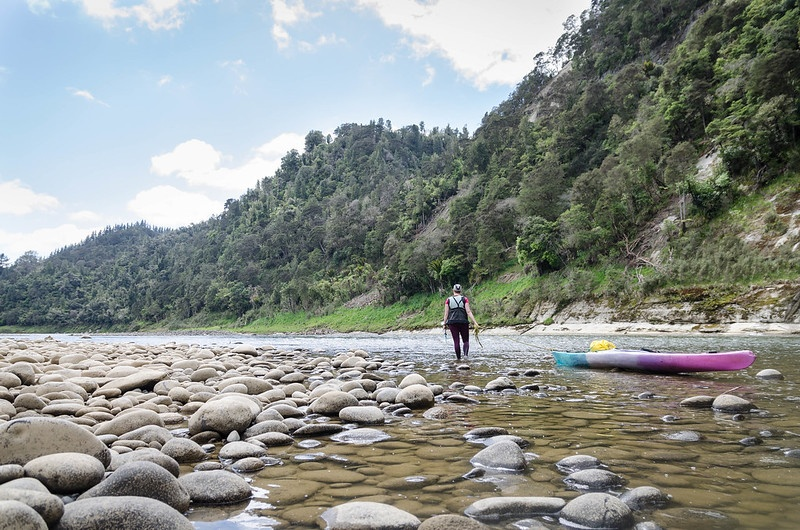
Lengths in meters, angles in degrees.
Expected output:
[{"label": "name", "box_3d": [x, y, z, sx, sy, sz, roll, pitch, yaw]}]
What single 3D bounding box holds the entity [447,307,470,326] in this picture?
[{"label": "entity", "box_3d": [1.720, 1.564, 16.887, 0.773, 0.721, 0.444, 1, -25, 3]}]
